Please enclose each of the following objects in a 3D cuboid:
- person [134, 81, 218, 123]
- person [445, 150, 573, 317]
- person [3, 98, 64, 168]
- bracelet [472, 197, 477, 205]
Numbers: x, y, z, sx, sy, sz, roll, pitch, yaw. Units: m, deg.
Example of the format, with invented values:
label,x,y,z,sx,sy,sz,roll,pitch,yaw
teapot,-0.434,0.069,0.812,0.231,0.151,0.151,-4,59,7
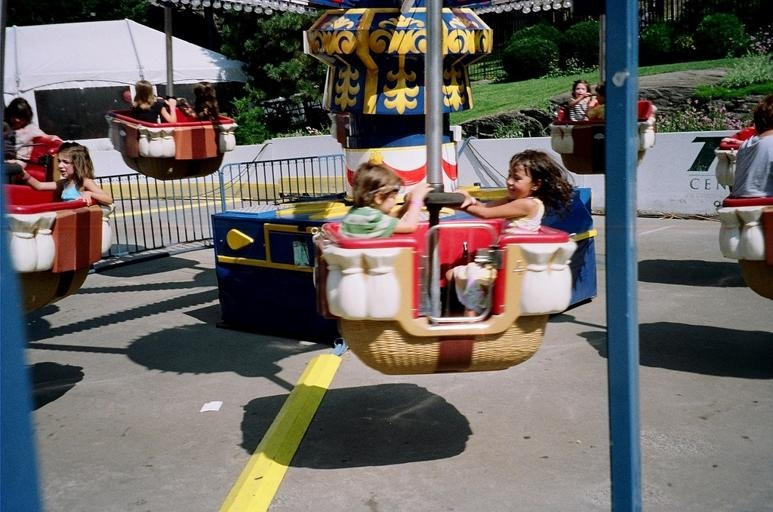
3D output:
label,x,y,z,sx,sy,sz,roll,pitch,yaw
person,-2.189,-1.599,8.312,0.871,0.408,0.693,-8,14,-23
person,0.861,-0.287,5.489,0.577,0.830,1.035,6,16,34
person,-2.898,-1.028,6.649,0.336,0.566,1.507,-8,13,-19
bracelet,0.568,-0.359,5.271,0.052,0.047,0.014,10,-37,-34
